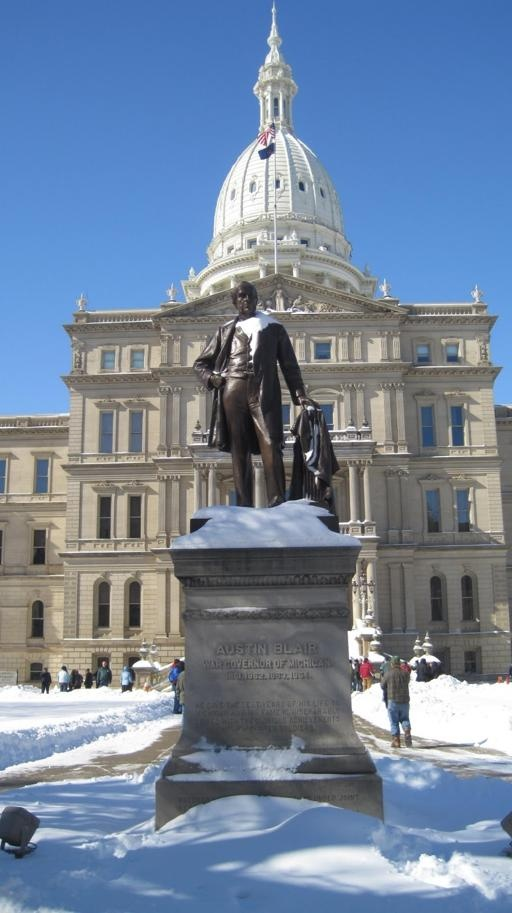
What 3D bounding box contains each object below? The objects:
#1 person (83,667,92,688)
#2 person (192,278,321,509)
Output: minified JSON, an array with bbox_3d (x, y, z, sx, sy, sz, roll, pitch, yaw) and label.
[{"bbox_3d":[-7.678,10.109,42.569,0.303,0.743,1.568,2,-13,-16],"label":"person"},{"bbox_3d":[-0.027,-0.576,8.904,1.016,2.255,0.676,-6,-12,20],"label":"person"}]
